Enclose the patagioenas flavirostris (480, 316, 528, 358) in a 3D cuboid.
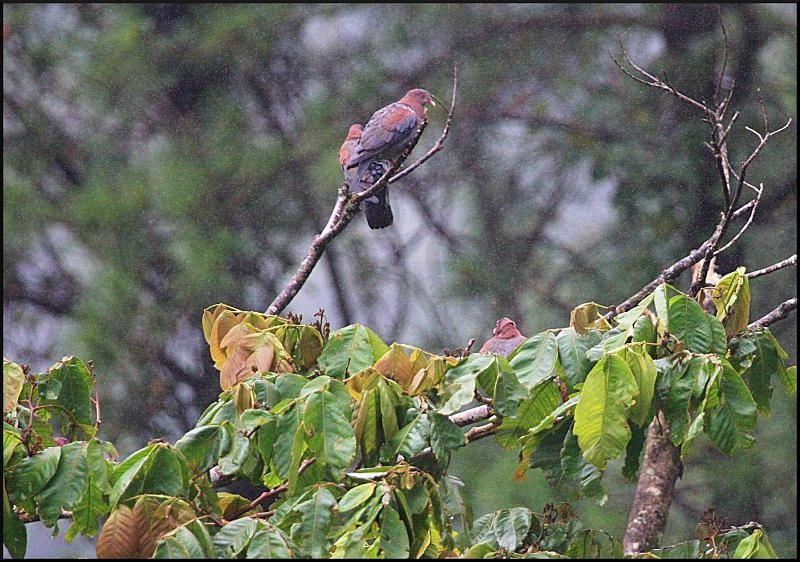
[{"bbox_3d":[0.467,0.259,6.443,0.102,0.189,0.209,11,-71,50],"label":"patagioenas flavirostris"}]
